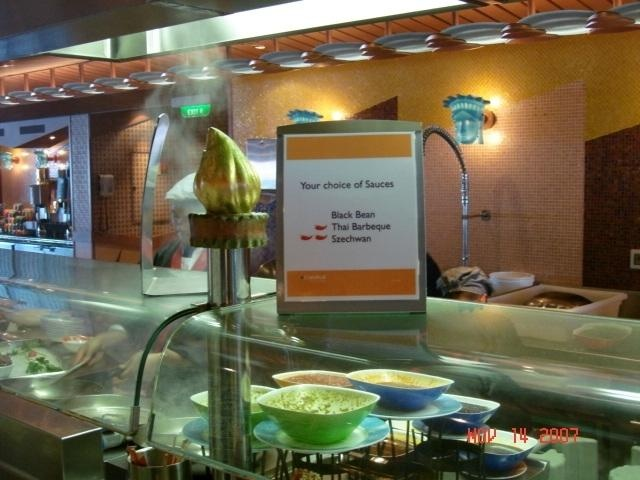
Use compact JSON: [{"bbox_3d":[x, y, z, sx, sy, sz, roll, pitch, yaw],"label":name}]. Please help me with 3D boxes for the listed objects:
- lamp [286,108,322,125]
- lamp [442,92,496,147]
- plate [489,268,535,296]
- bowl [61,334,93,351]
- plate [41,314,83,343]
[{"bbox_3d":[-0.195,-1.518,5.833,0.483,0.177,0.149,2,5,34],"label":"lamp"},{"bbox_3d":[1.482,-1.208,4.882,0.441,0.367,0.542,-1,10,-39],"label":"lamp"},{"bbox_3d":[1.526,0.323,3.805,0.420,0.106,0.322,-1,4,-6],"label":"plate"},{"bbox_3d":[-0.541,0.225,1.080,0.051,0.015,0.047,-5,15,-37],"label":"bowl"},{"bbox_3d":[-0.574,0.210,1.150,0.133,0.058,0.014,1,-30,32],"label":"plate"}]
